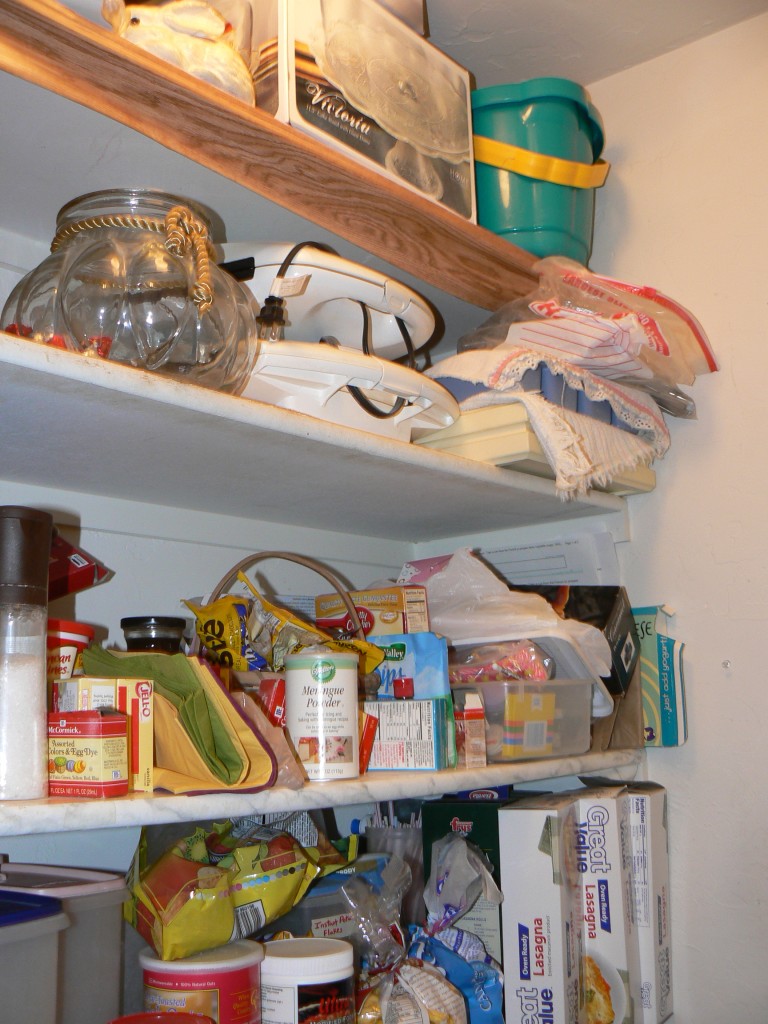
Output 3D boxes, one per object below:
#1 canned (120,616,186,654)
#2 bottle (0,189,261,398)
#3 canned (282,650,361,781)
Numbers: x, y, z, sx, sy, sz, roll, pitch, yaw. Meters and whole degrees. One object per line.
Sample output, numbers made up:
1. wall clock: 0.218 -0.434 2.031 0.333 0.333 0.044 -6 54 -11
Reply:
1. canned: -0.237 0.136 0.921 0.054 0.031 0.049 3 -17 -12
2. bottle: -0.200 -0.179 0.831 0.221 0.158 0.210 -2 -6 0
3. canned: -0.061 0.202 0.881 0.074 0.128 0.105 -2 -12 -4
